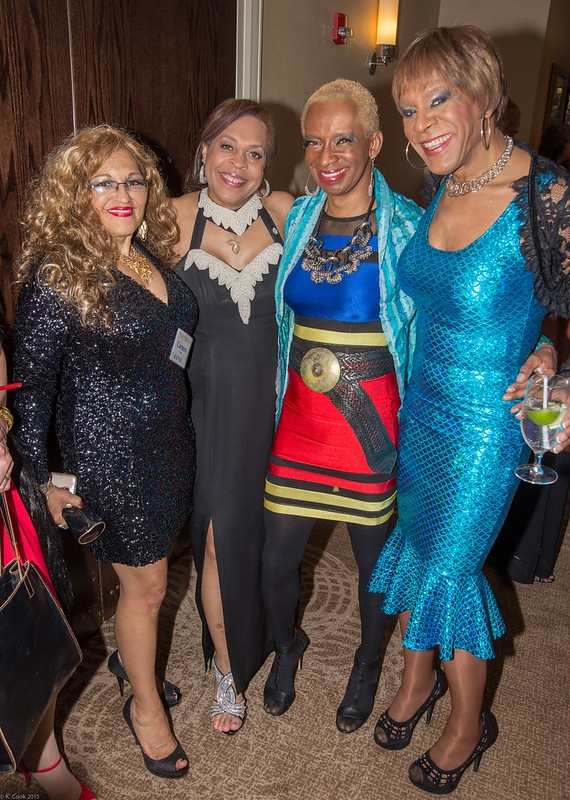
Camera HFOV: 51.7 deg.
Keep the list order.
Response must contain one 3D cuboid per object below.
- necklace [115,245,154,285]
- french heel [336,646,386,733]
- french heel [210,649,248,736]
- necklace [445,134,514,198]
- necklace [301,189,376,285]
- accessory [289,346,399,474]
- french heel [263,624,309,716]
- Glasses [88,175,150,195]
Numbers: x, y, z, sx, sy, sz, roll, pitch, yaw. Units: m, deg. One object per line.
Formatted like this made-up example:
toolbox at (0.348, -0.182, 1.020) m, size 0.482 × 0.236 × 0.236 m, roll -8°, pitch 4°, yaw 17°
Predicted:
necklace at (-0.363, -0.324, 1.433) m, size 0.080 × 0.014 × 0.087 m, roll 5°, pitch 48°, yaw -56°
french heel at (0.257, 0.904, 1.897) m, size 0.087 × 0.112 × 0.285 m, roll 4°, pitch 37°, yaw 25°
french heel at (-0.169, 0.924, 1.837) m, size 0.070 × 0.081 × 0.205 m, roll -4°, pitch 39°, yaw -4°
necklace at (0.445, -0.503, 1.342) m, size 0.007 × 0.145 × 0.130 m, roll 30°, pitch 15°, yaw -33°
necklace at (0.154, -0.424, 1.628) m, size 0.166 × 0.046 × 0.268 m, roll 0°, pitch 61°, yaw 42°
accessory at (0.178, 0.012, 1.637) m, size 0.273 × 0.349 × 0.093 m, roll -8°, pitch 14°, yaw 40°
french heel at (0.005, 0.867, 1.949) m, size 0.091 × 0.128 × 0.292 m, roll -1°, pitch 47°, yaw 32°
Glasses at (-0.370, -0.487, 1.338) m, size 0.132 × 0.034 × 0.036 m, roll -19°, pitch 31°, yaw -37°
